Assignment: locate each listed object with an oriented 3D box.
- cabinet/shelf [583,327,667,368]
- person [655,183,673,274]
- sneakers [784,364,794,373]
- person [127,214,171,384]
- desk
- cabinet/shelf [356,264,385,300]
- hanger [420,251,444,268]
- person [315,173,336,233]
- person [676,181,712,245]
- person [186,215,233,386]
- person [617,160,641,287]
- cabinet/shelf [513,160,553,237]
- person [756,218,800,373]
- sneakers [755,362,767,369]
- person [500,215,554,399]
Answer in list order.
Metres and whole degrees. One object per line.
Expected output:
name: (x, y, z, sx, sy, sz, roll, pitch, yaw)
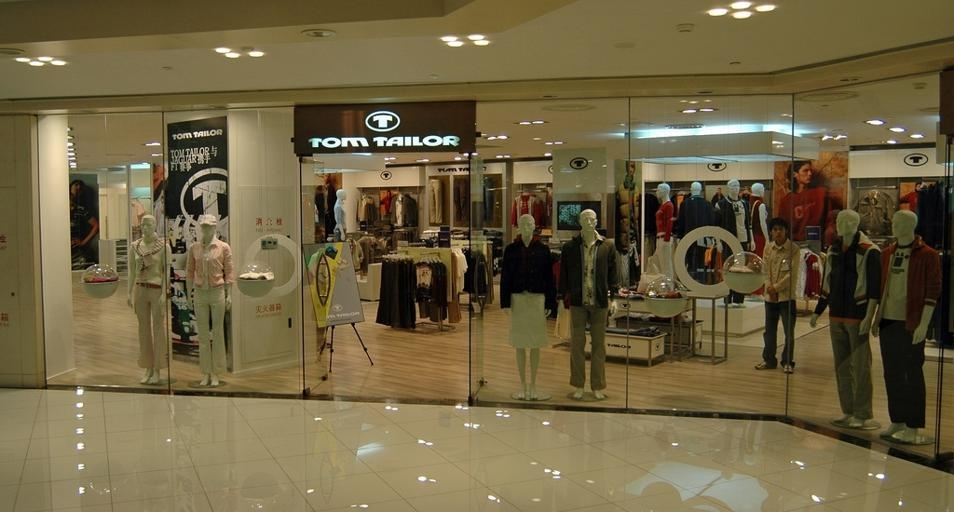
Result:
cabinet/shelf: (2.043, 1.197, 9.034, 0.935, 0.362, 0.452, 2, 16, 26)
person: (2.566, -0.378, 8.784, 0.245, 1.216, 0.292, 2, 16, 9)
sneakers: (4.176, 1.486, 8.574, 0.140, 0.067, 0.279, 1, 4, 24)
person: (-4.745, 0.628, 9.373, 0.591, 2.449, 0.399, -9, 17, -25)
desk: (2.446, 0.941, 9.215, 1.260, 0.769, 1.233, -19, 12, -34)
cabinet/shelf: (-1.864, 0.432, 11.293, 0.521, 0.550, 0.520, 1, 16, 41)
hanger: (-0.773, 0.021, 10.895, 0.354, 0.150, 0.215, -2, 6, -24)
person: (-2.225, -0.761, 9.529, 0.261, 0.951, 0.670, -3, 16, -7)
person: (2.955, -0.645, 8.767, 0.487, 0.741, 0.166, -1, 16, -1)
person: (-3.880, 0.656, 9.361, 0.673, 2.419, 0.541, -2, 16, -5)
person: (2.075, -0.468, 8.801, 0.341, 1.648, 0.484, 3, 16, 12)
cabinet/shelf: (0.765, -0.760, 9.087, 0.546, 0.845, 0.569, 5, 12, 34)
person: (4.050, 0.501, 8.632, 0.543, 1.994, 0.533, 6, -6, -35)
sneakers: (3.830, 1.468, 8.656, 0.144, 0.059, 0.073, -1, 2, -4)
person: (0.699, 0.705, 8.929, 0.699, 2.505, 0.606, 4, 16, 16)
